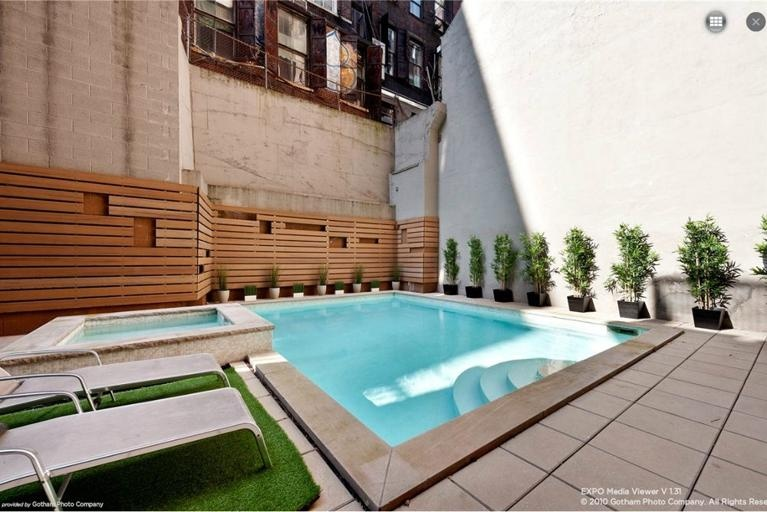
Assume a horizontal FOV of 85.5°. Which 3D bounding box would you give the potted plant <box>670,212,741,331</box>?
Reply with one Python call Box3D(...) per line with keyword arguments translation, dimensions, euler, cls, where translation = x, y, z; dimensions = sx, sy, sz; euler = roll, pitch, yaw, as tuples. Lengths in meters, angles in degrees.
Box3D(translation=(5.453, 0.274, 6.980), dimensions=(0.770, 2.209, 0.413), euler=(-4, -1, 41), cls="potted plant")
